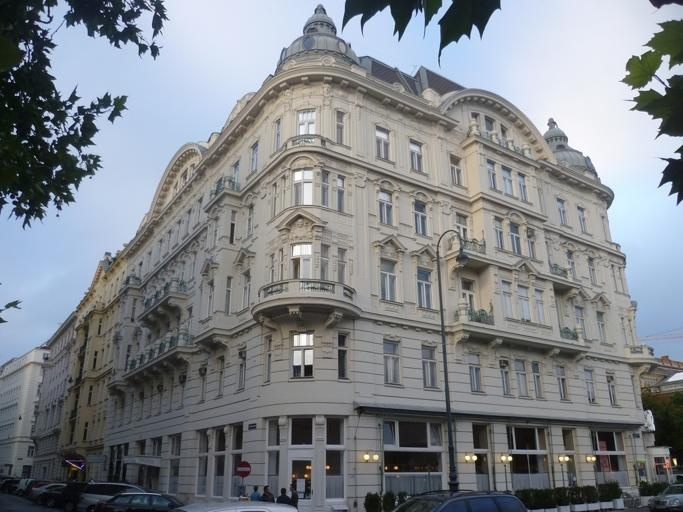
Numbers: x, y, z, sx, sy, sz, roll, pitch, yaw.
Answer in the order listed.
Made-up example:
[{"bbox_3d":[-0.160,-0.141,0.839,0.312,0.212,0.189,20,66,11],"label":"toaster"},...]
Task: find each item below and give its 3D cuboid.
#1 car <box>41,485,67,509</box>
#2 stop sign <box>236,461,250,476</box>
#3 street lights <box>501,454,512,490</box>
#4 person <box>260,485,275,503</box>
[{"bbox_3d":[-18.969,15.656,40.271,1.154,1.592,4.075,13,-29,-21],"label":"car"},{"bbox_3d":[-4.180,9.147,26.586,0.485,0.701,1.021,2,-28,-2],"label":"stop sign"},{"bbox_3d":[9.262,11.933,33.969,0.547,1.933,0.985,-11,-32,19],"label":"street lights"},{"bbox_3d":[-3.128,10.319,26.781,0.596,0.775,1.691,4,-27,-5],"label":"person"}]
